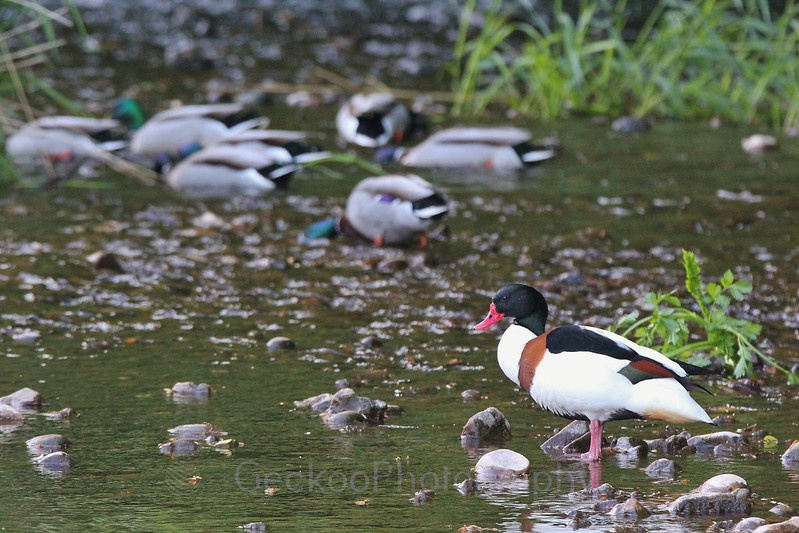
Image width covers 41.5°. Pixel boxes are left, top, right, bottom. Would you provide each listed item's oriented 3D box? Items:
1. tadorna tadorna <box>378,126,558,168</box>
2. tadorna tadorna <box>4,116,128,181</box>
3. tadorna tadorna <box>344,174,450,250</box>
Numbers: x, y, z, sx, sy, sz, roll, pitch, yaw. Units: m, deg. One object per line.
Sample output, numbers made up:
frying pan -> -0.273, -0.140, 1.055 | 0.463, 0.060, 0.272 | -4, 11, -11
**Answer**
tadorna tadorna -> 0.559, -0.992, 8.773 | 1.470, 0.425, 0.301 | 1, 90, 7
tadorna tadorna -> -2.862, -0.988, 8.948 | 1.145, 0.543, 0.440 | 11, 27, -6
tadorna tadorna -> -0.135, -0.420, 8.022 | 0.904, 0.538, 0.360 | -9, 73, 37
